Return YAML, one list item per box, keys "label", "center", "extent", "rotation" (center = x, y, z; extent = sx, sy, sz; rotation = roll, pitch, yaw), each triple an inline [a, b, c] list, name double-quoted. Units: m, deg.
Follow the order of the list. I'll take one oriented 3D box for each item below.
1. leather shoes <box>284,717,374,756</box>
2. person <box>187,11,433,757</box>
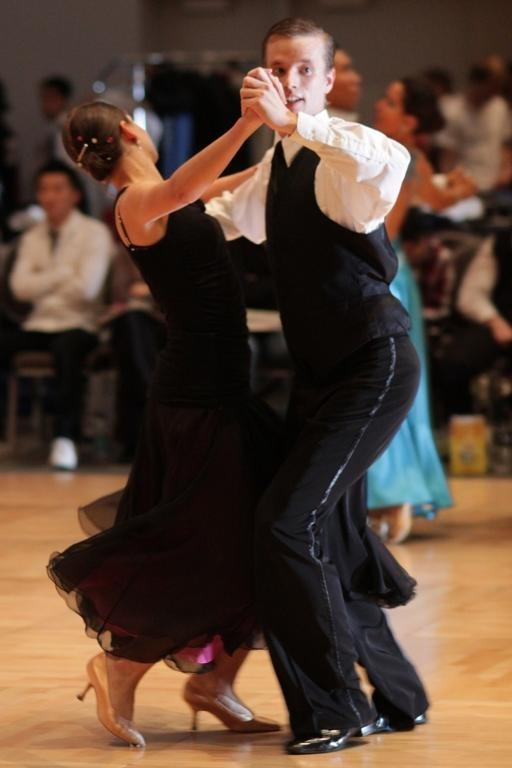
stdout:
- label: "leather shoes"
  center: [0.125, 0.557, 1.329]
  extent: [0.154, 0.046, 0.054]
  rotation: [0, -6, -38]
- label: "person"
  center: [0.120, -0.001, 1.388]
  extent: [0.355, 1.222, 0.492]
  rotation: [-2, -3, -2]
